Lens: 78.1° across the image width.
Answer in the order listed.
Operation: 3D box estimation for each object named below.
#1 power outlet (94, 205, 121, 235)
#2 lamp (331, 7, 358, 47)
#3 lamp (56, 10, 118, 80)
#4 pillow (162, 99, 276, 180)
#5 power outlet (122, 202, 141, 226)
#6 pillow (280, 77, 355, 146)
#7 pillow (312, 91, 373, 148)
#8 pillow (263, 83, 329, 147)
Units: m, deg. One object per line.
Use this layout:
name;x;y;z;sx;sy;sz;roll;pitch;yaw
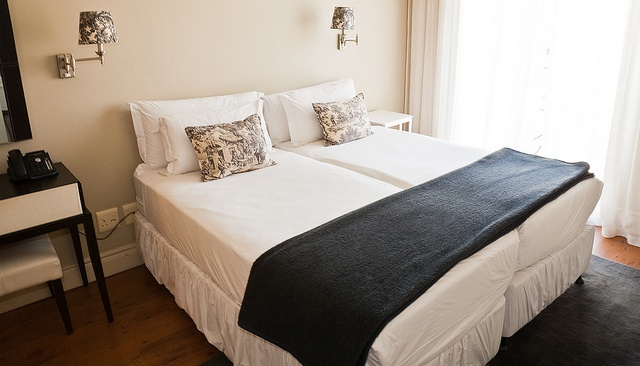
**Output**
power outlet;-2.007;0.337;3.695;0.254;0.264;0.028;-14;24;-37
lamp;0.286;-1.788;4.557;0.282;0.450;0.449;-3;21;9
lamp;-2.001;-1.169;3.325;0.518;0.521;0.288;-16;24;-25
pillow;-1.021;-0.391;3.936;0.383;0.628;1.195;-5;6;42
power outlet;-1.808;0.284;3.773;0.209;0.262;0.026;-13;22;-35
pillow;-0.111;-0.781;4.171;1.135;0.645;0.310;-19;-1;-35
pillow;0.268;-0.690;4.213;0.584;0.611;0.155;-16;60;13
pillow;-0.258;-0.682;4.116;0.743;0.429;0.175;-20;16;-37
